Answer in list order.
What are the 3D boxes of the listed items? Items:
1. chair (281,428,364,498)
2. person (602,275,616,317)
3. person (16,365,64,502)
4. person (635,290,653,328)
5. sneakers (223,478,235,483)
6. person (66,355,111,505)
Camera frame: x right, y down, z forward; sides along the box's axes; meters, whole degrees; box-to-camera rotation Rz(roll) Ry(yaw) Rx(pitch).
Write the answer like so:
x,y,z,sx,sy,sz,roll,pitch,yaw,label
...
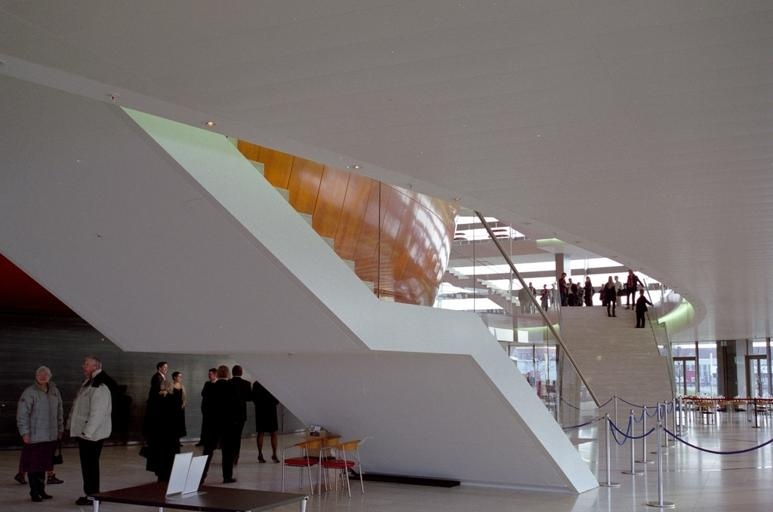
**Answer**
x,y,z,sx,sy,sz,roll,pitch,yaw,label
-1.012,3.553,11.934,1.276,0.818,1.255,-7,-14,30,chair
8.127,1.447,25.251,0.484,1.477,0.971,-2,-10,17,person
-5.360,2.739,10.793,0.585,2.002,0.579,3,-10,-16,person
8.993,1.825,24.436,0.428,1.363,0.778,-5,-11,27,person
-2.732,3.920,12.184,0.075,0.097,0.231,-3,-4,44,sneakers
-4.441,2.517,10.465,0.543,1.987,0.369,3,-10,-16,person
